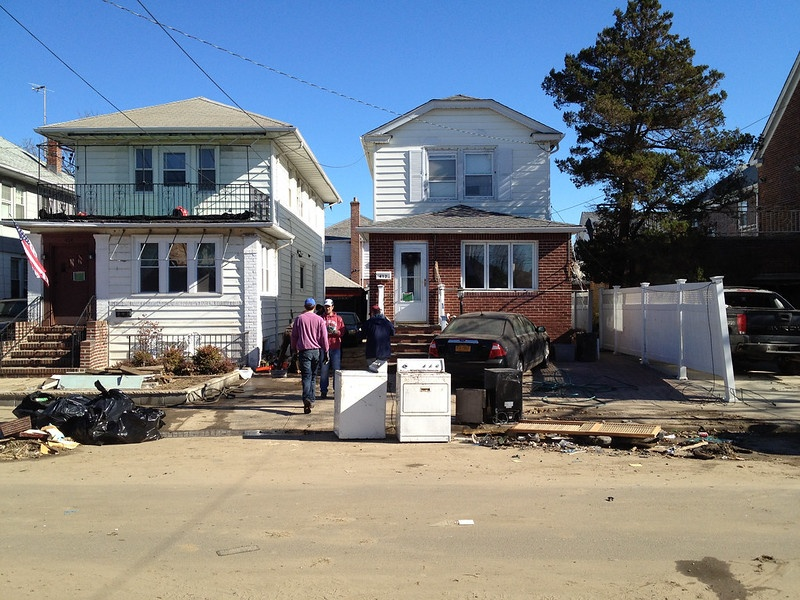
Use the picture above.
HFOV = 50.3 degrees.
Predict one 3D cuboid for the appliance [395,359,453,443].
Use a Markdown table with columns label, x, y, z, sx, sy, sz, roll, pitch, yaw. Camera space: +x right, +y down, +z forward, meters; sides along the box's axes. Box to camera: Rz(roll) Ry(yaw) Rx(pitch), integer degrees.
| label | x | y | z | sx | sy | sz | roll | pitch | yaw |
| --- | --- | --- | --- | --- | --- | --- | --- | --- | --- |
| appliance | 0.431 | 1.811 | 15.130 | 1.137 | 1.765 | 1.220 | 0 | -2 | -1 |

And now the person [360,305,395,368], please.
| label | x | y | z | sx | sy | sz | roll | pitch | yaw |
| --- | --- | --- | --- | --- | --- | --- | --- | --- | --- |
| person | -0.432 | 0.855 | 17.807 | 0.625 | 1.180 | 1.247 | 0 | 12 | -1 |

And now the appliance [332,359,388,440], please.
| label | x | y | z | sx | sy | sz | roll | pitch | yaw |
| --- | --- | --- | --- | --- | --- | --- | --- | --- | --- |
| appliance | -0.707 | 1.839 | 15.456 | 1.001 | 1.567 | 1.104 | 1 | -3 | -4 |

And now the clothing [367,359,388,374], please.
| label | x | y | z | sx | sy | sz | roll | pitch | yaw |
| --- | --- | --- | --- | --- | --- | --- | --- | --- | --- |
| clothing | -0.485 | 1.353 | 17.502 | 0.361 | 0.209 | 0.363 | 0 | 5 | 19 |

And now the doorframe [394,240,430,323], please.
| label | x | y | z | sx | sy | sz | roll | pitch | yaw |
| --- | --- | --- | --- | --- | --- | --- | --- | --- | --- |
| doorframe | 0.319 | -0.547 | 24.567 | 0.940 | 2.236 | 0.440 | 0 | 12 | -1 |

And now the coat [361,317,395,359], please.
| label | x | y | z | sx | sy | sz | roll | pitch | yaw |
| --- | --- | --- | --- | --- | --- | --- | --- | --- | --- |
| coat | -0.409 | 0.800 | 18.059 | 0.831 | 1.145 | 0.752 | 0 | -3 | 3 |

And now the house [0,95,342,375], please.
| label | x | y | z | sx | sy | sz | roll | pitch | yaw |
| --- | --- | --- | --- | --- | --- | --- | --- | --- | --- |
| house | -6.390 | -1.746 | 29.516 | 6.877 | 7.912 | 12.236 | -1 | -4 | 4 |

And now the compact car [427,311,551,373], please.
| label | x | y | z | sx | sy | sz | roll | pitch | yaw |
| --- | --- | --- | --- | --- | --- | --- | --- | --- | --- |
| compact car | 2.246 | 0.929 | 19.413 | 1.180 | 0.934 | 2.841 | -1 | 3 | 25 |

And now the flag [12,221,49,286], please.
| label | x | y | z | sx | sy | sz | roll | pitch | yaw |
| --- | --- | --- | --- | --- | --- | --- | --- | --- | --- |
| flag | -9.733 | -1.096 | 22.799 | 0.683 | 1.985 | 2.840 | -5 | 13 | -22 |

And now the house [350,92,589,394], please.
| label | x | y | z | sx | sy | sz | roll | pitch | yaw |
| --- | --- | --- | --- | --- | --- | --- | --- | --- | --- |
| house | 1.914 | -2.568 | 27.872 | 6.193 | 9.203 | 7.800 | 0 | -3 | 0 |
